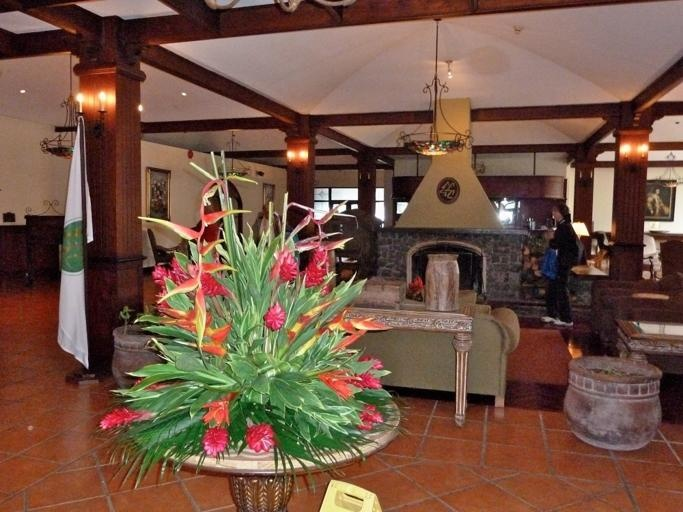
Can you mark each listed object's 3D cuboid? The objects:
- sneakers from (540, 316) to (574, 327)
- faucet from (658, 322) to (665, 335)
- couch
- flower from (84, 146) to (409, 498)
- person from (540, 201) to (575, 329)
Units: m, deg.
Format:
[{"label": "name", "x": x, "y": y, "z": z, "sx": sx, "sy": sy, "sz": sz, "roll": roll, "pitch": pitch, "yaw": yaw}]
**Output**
[{"label": "sneakers", "x": 3.146, "y": 0.964, "z": 7.023, "sx": 0.140, "sy": 0.135, "sz": 0.371, "roll": -7, "pitch": 15, "yaw": -43}, {"label": "faucet", "x": 2.819, "y": 0.636, "z": 4.204, "sx": 0.036, "sy": 0.084, "sz": 0.035, "roll": -3, "pitch": 6, "yaw": -32}, {"label": "couch", "x": 0.655, "y": 0.696, "z": 3.386, "sx": 1.155, "sy": 0.486, "sz": 0.581, "roll": 1, "pitch": 9, "yaw": 16}, {"label": "flower", "x": -0.280, "y": 0.157, "z": 1.608, "sx": 0.975, "sy": 0.908, "sz": 0.905, "roll": -5, "pitch": 7, "yaw": -43}, {"label": "person", "x": 3.175, "y": 0.127, "z": 6.888, "sx": 0.425, "sy": 1.741, "sz": 0.592, "roll": 4, "pitch": 7, "yaw": 22}]
